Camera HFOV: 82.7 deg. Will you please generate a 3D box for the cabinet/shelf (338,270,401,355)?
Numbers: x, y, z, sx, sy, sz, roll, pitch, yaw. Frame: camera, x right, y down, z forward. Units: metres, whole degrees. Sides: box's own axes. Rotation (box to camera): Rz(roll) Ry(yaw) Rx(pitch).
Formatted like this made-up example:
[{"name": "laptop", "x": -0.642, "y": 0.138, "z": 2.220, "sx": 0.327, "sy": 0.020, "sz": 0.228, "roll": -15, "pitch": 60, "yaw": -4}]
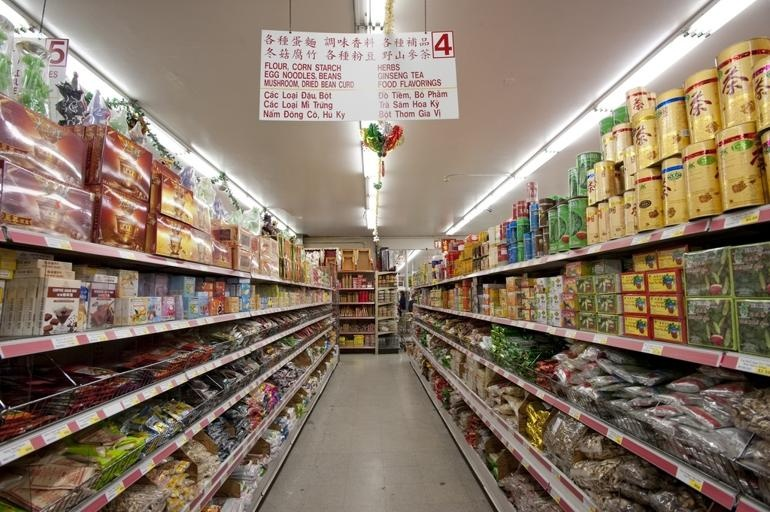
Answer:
[{"name": "cabinet/shelf", "x": -0.495, "y": 1.533, "z": 11.492, "sx": 2.206, "sy": 2.489, "sz": 0.814, "roll": 0, "pitch": -6, "yaw": -5}]
